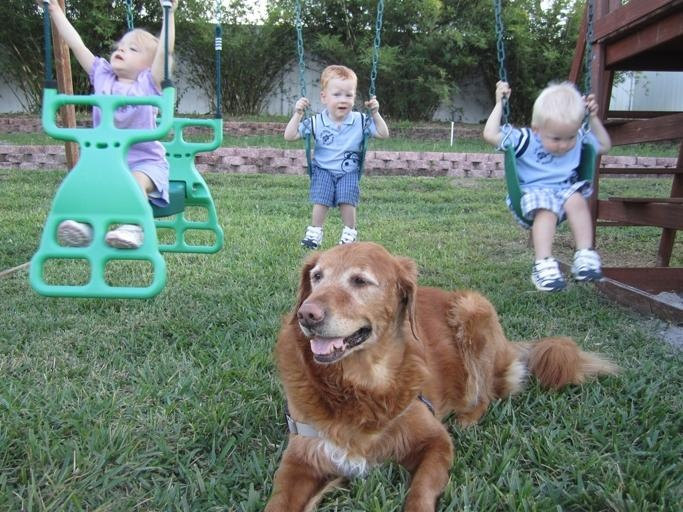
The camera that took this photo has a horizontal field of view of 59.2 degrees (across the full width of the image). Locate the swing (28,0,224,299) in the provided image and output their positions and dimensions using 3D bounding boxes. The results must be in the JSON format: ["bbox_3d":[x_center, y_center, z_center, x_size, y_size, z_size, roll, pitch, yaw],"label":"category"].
[{"bbox_3d":[-1.368,-0.616,3.900,1.027,2.009,1.537,-1,13,-5],"label":"swing"}]

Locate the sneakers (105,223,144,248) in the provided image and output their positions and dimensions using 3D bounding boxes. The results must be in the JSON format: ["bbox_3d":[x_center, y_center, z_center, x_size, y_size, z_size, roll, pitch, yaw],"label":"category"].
[{"bbox_3d":[-1.327,-0.125,3.686,0.111,0.153,0.311,-1,-16,2],"label":"sneakers"}]

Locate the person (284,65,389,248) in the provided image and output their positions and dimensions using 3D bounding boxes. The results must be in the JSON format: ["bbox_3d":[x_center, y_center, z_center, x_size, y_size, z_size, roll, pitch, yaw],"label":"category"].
[{"bbox_3d":[-0.059,-1.007,5.919,0.952,1.658,0.796,-1,13,-6],"label":"person"}]

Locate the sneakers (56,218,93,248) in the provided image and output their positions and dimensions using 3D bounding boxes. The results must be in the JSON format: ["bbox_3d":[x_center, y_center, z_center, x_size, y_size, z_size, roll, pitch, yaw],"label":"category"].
[{"bbox_3d":[-1.584,-0.131,3.563,0.100,0.150,0.223,1,6,-45],"label":"sneakers"}]
